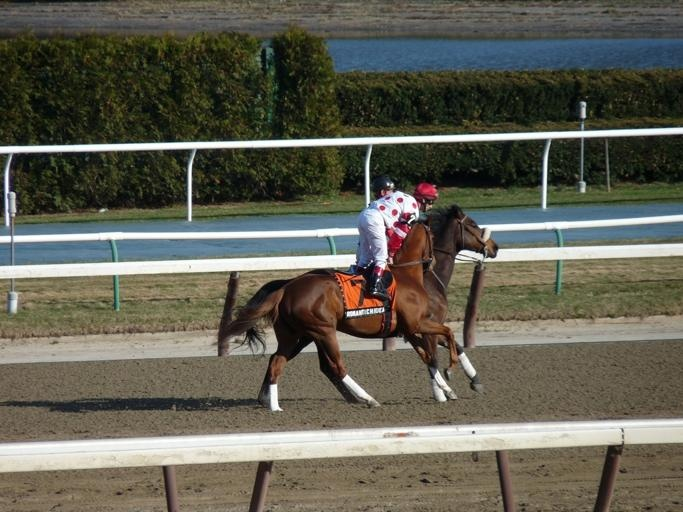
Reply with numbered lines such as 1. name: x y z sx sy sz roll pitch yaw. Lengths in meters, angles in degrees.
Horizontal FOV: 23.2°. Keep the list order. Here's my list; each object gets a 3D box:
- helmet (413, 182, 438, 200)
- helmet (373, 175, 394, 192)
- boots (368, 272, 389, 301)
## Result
1. helmet: 1.143 -0.892 22.978 0.283 0.232 0.220 -10 24 -12
2. helmet: 0.578 -0.984 22.990 0.262 0.226 0.187 -20 24 -4
3. boots: 0.464 0.380 22.296 0.273 0.419 0.136 -4 11 0
